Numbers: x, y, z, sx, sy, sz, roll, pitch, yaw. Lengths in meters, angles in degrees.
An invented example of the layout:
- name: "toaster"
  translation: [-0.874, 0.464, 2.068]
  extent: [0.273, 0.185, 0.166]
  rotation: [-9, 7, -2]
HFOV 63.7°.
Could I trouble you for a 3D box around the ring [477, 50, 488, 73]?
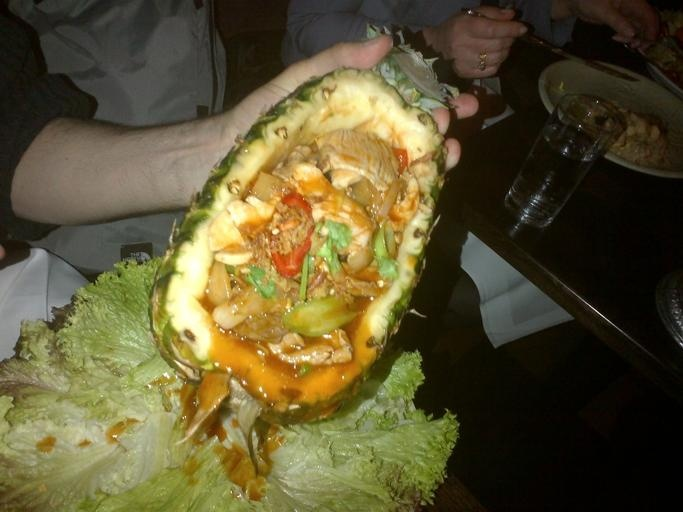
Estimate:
- name: "ring"
  translation: [1.068, -1.491, 4.163]
  extent: [0.070, 0.123, 0.029]
  rotation: [2, 36, 3]
